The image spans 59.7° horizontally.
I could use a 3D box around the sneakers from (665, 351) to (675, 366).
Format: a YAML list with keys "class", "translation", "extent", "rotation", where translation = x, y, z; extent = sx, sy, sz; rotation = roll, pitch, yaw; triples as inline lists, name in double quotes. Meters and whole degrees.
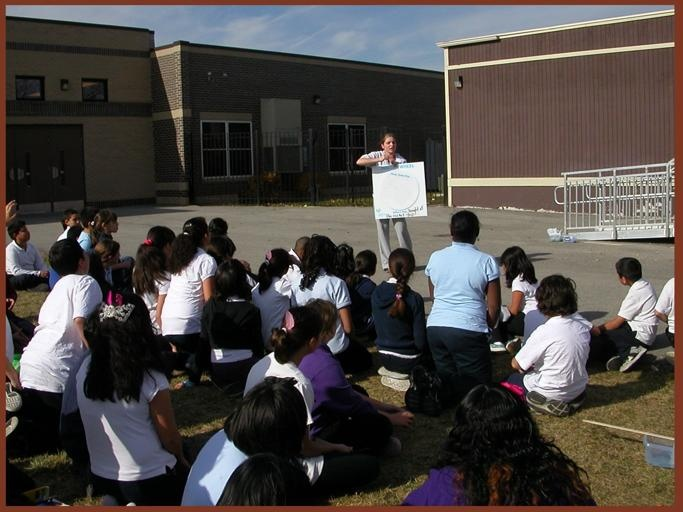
- class: "sneakers"
  translation: [3.428, 1.042, 6.196]
  extent: [0.070, 0.123, 0.295]
  rotation: [0, 6, 24]

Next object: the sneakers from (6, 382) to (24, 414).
- class: "sneakers"
  translation: [-2.638, 1.139, 4.760]
  extent: [0.118, 0.178, 0.277]
  rotation: [-5, 6, -30]

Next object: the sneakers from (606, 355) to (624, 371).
- class: "sneakers"
  translation: [2.754, 1.080, 5.978]
  extent: [0.168, 0.163, 0.107]
  rotation: [0, 5, 29]

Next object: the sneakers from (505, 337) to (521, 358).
- class: "sneakers"
  translation: [1.950, 1.019, 6.764]
  extent: [0.122, 0.094, 0.209]
  rotation: [-39, 9, 43]

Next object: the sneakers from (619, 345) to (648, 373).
- class: "sneakers"
  translation: [2.970, 1.037, 6.009]
  extent: [0.363, 0.238, 0.140]
  rotation: [-7, 6, -33]

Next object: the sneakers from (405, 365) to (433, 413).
- class: "sneakers"
  translation: [0.679, 1.193, 5.296]
  extent: [0.148, 0.485, 0.198]
  rotation: [1, -12, 19]

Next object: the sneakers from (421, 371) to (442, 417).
- class: "sneakers"
  translation: [0.798, 1.227, 5.259]
  extent: [0.121, 0.372, 0.151]
  rotation: [-6, -13, 29]
